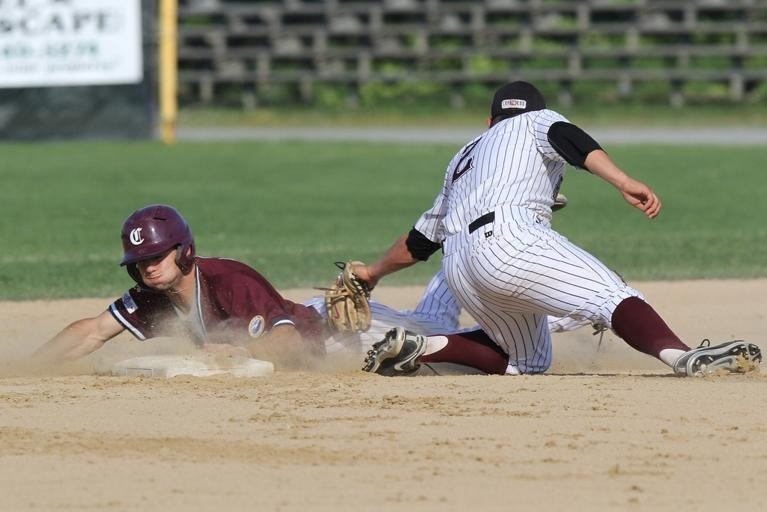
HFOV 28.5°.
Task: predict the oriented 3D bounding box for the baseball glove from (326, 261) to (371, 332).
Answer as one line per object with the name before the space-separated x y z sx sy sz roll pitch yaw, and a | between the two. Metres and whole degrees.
baseball glove | -0.320 0.377 14.574 0.490 0.615 0.297 -10 -1 18
